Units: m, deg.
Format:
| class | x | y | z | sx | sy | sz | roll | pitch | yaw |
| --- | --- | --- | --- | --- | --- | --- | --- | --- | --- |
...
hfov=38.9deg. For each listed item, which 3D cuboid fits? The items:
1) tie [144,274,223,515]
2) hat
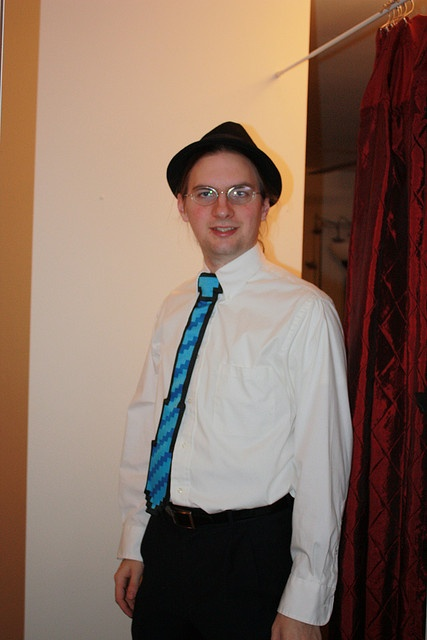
| class | x | y | z | sx | sy | sz | roll | pitch | yaw |
| --- | --- | --- | --- | --- | --- | --- | --- | --- | --- |
| tie | -0.078 | 0.175 | 1.560 | 0.136 | 0.748 | 0.056 | 19 | -18 | -25 |
| hat | 0.016 | -0.433 | 1.680 | 0.298 | 0.135 | 0.304 | 6 | -26 | 4 |
